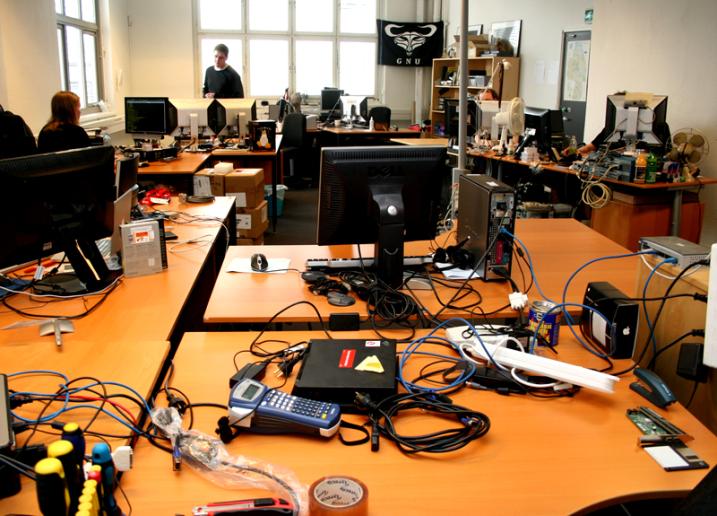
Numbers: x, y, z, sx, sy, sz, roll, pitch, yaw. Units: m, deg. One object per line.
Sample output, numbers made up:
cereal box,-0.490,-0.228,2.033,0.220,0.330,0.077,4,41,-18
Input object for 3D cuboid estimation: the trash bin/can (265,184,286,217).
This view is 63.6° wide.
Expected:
trash bin/can,-0.902,-0.659,6.439,0.352,0.300,0.323,-1,21,-6

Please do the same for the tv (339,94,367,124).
tv,-0.064,-2.282,8.865,0.340,0.399,0.471,-6,18,-16

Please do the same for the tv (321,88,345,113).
tv,-0.402,-2.511,9.210,0.447,0.433,0.328,1,18,-1

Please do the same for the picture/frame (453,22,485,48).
picture/frame,1.705,-3.409,8.786,0.454,0.330,1.382,2,18,9

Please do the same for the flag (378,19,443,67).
flag,0.895,-3.612,9.781,1.168,0.743,0.147,-4,17,-11

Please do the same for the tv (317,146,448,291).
tv,0.102,-0.181,2.605,0.637,0.630,0.294,0,24,-5

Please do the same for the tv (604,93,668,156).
tv,2.241,-1.123,4.739,0.495,0.417,0.277,10,22,32
